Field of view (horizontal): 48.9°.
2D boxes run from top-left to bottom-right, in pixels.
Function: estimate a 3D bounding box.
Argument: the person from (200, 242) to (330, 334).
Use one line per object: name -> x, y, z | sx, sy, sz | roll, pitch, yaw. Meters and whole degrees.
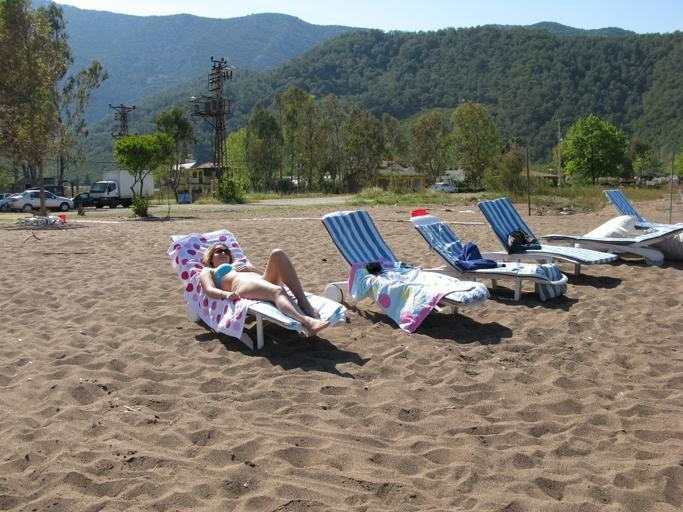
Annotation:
person -> -0.933, 0.350, 8.661 | 1.959, 0.861, 0.704 | 4, 11, 39
